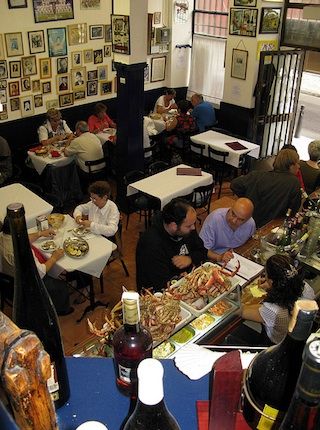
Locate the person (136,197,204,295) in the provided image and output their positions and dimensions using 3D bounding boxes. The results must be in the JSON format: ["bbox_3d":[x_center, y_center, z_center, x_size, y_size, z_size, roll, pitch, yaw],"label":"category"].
[{"bbox_3d":[0.085,0.283,3.033,0.475,1.308,0.557,33,60,22],"label":"person"}]

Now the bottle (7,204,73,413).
[{"bbox_3d":[-0.258,0.181,0.659,0.092,0.492,0.180,-10,27,-25],"label":"bottle"}]
